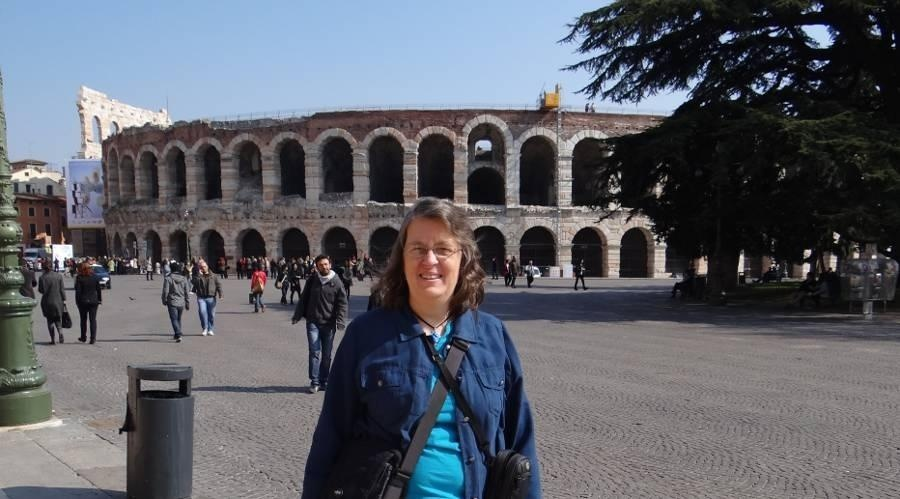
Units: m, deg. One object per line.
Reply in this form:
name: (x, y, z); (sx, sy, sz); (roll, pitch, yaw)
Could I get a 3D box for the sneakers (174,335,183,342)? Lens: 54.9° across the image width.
sneakers: (-9.718, 3.161, 31.019); (0.311, 0.241, 0.628); (0, -2, -19)

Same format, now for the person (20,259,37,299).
person: (-15.427, 1.057, 31.643); (0.482, 1.259, 3.768); (0, -2, -26)

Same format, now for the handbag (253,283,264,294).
handbag: (-8.239, 1.629, 37.110); (0.561, 0.475, 0.226); (1, -2, -3)

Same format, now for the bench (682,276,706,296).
bench: (12.183, 1.857, 43.104); (1.075, 1.268, 1.039); (5, 5, 30)

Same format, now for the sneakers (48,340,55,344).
sneakers: (-14.058, 3.275, 30.606); (0.180, 0.128, 0.163); (10, -13, -27)

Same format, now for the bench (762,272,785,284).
bench: (21.442, 1.829, 57.570); (1.156, 0.646, 5.321); (-2, -2, 18)

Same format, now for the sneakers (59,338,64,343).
sneakers: (-13.824, 3.245, 30.847); (0.160, 0.134, 0.148); (-1, -5, -1)

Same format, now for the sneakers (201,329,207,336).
sneakers: (-9.069, 3.088, 32.017); (0.129, 0.206, 0.325); (3, -17, -15)

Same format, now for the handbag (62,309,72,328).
handbag: (-13.429, 2.413, 30.277); (0.266, 0.531, 0.368); (1, -3, -40)
